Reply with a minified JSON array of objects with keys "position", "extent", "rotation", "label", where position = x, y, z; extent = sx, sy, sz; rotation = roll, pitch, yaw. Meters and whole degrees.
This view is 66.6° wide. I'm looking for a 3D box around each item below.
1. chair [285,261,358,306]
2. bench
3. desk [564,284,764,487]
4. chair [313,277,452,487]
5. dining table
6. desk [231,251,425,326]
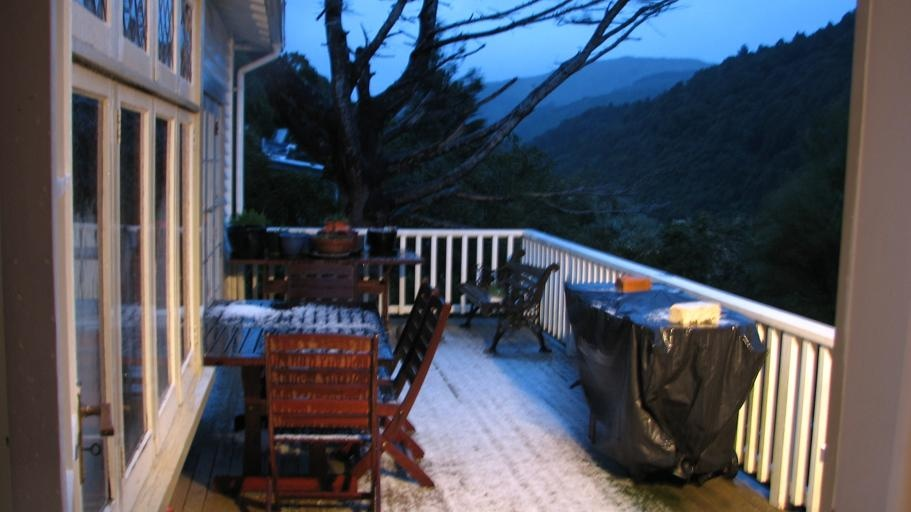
[{"position":[-1.069,0.191,5.600],"extent":[0.413,0.263,0.417],"rotation":[0,3,-7],"label":"chair"},{"position":[0.524,0.421,7.218],"extent":[0.730,0.847,1.593],"rotation":[-1,5,-6],"label":"bench"},{"position":[1.167,0.664,4.417],"extent":[0.951,1.147,1.549],"rotation":[-3,9,-17],"label":"desk"},{"position":[-0.332,0.745,4.451],"extent":[1.068,1.374,0.949],"rotation":[3,6,-10],"label":"chair"},{"position":[-1.015,0.758,4.267],"extent":[1.041,0.571,1.070],"rotation":[3,3,-3],"label":"dining table"},{"position":[-1.120,0.343,5.963],"extent":[1.368,0.692,0.746],"rotation":[-3,-13,27],"label":"desk"}]
